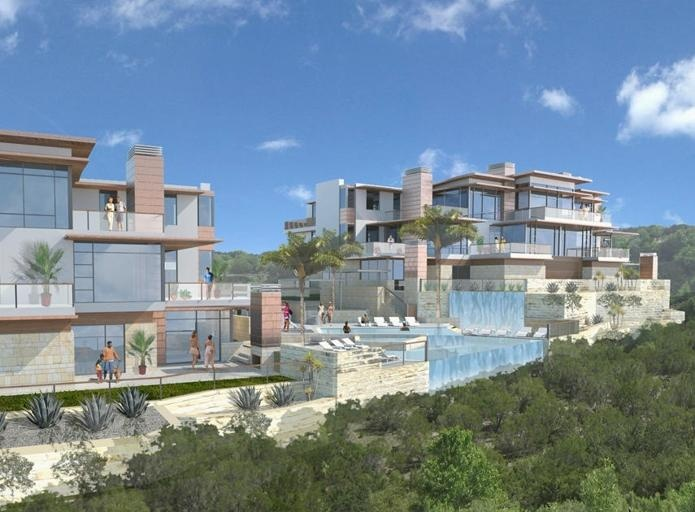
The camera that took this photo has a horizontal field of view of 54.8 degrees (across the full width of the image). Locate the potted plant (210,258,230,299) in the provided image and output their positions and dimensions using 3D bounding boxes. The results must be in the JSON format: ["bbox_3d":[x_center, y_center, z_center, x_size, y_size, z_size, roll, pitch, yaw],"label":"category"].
[{"bbox_3d":[-8.492,1.277,43.683,0.871,1.893,1.095,1,-4,3],"label":"potted plant"}]

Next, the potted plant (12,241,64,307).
[{"bbox_3d":[-15.871,0.818,34.486,2.778,3.892,2.928,1,-6,-14],"label":"potted plant"}]

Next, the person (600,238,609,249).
[{"bbox_3d":[26.026,-1.290,67.496,1.174,0.880,0.643,-2,0,-45],"label":"person"}]

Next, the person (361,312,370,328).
[{"bbox_3d":[1.310,4.673,48.831,0.633,1.145,1.198,1,-4,-15],"label":"person"}]

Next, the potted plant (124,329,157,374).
[{"bbox_3d":[-11.946,5.139,37.409,1.904,2.395,2.063,1,-3,-6],"label":"potted plant"}]
